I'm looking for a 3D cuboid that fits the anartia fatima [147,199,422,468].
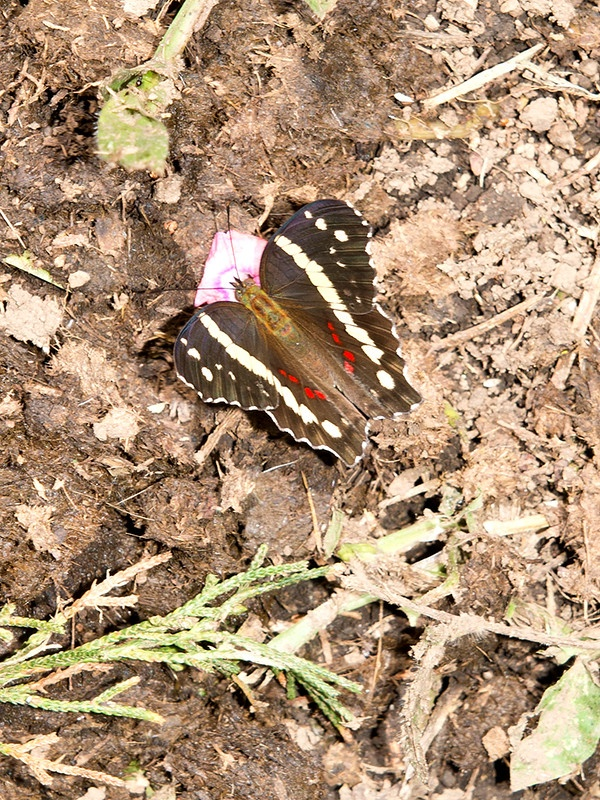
[{"bbox_3d":[-0.091,-0.202,3.008,0.250,1.053,0.934,-9,87,-56],"label":"anartia fatima"}]
